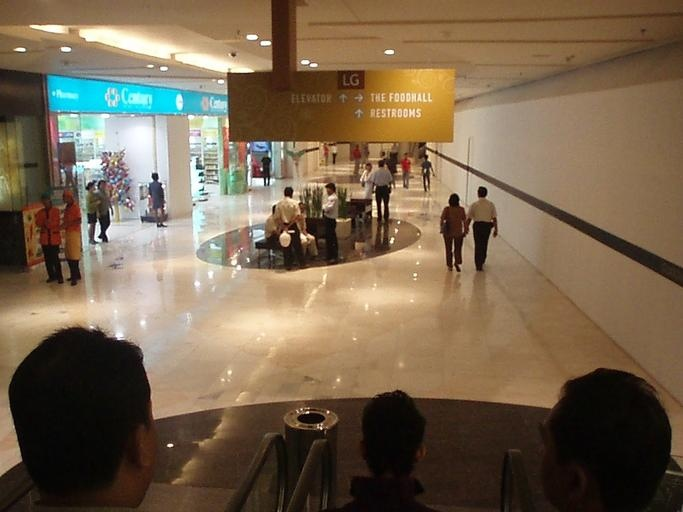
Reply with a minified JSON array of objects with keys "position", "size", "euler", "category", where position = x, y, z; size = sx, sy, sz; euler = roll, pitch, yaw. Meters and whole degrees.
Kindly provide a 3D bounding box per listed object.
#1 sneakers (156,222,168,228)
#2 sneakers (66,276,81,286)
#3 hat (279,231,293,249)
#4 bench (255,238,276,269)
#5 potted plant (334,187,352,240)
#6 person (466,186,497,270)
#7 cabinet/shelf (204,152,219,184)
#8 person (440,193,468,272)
[{"position":[-5.971,-1.009,16.359],"size":[0.277,0.200,0.102],"euler":[-14,24,-37],"category":"sneakers"},{"position":[-5.594,0.554,10.305],"size":[0.125,0.271,0.377],"euler":[1,-20,-9],"category":"sneakers"},{"position":[-1.292,-0.358,11.493],"size":[0.079,0.332,0.347],"euler":[1,2,23],"category":"hat"},{"position":[-1.853,-0.033,12.050],"size":[0.564,0.474,0.948],"euler":[0,22,1],"category":"bench"},{"position":[0.068,-1.170,14.018],"size":[0.348,1.307,1.009],"euler":[-2,12,5],"category":"potted plant"},{"position":[3.208,-0.613,11.245],"size":[0.611,1.856,0.853],"euler":[2,13,21],"category":"person"},{"position":[-6.359,-4.339,24.089],"size":[0.663,1.558,2.028],"euler":[-6,13,-15],"category":"cabinet/shelf"},{"position":[2.588,-0.555,11.260],"size":[0.563,1.709,0.802],"euler":[0,12,14],"category":"person"}]
